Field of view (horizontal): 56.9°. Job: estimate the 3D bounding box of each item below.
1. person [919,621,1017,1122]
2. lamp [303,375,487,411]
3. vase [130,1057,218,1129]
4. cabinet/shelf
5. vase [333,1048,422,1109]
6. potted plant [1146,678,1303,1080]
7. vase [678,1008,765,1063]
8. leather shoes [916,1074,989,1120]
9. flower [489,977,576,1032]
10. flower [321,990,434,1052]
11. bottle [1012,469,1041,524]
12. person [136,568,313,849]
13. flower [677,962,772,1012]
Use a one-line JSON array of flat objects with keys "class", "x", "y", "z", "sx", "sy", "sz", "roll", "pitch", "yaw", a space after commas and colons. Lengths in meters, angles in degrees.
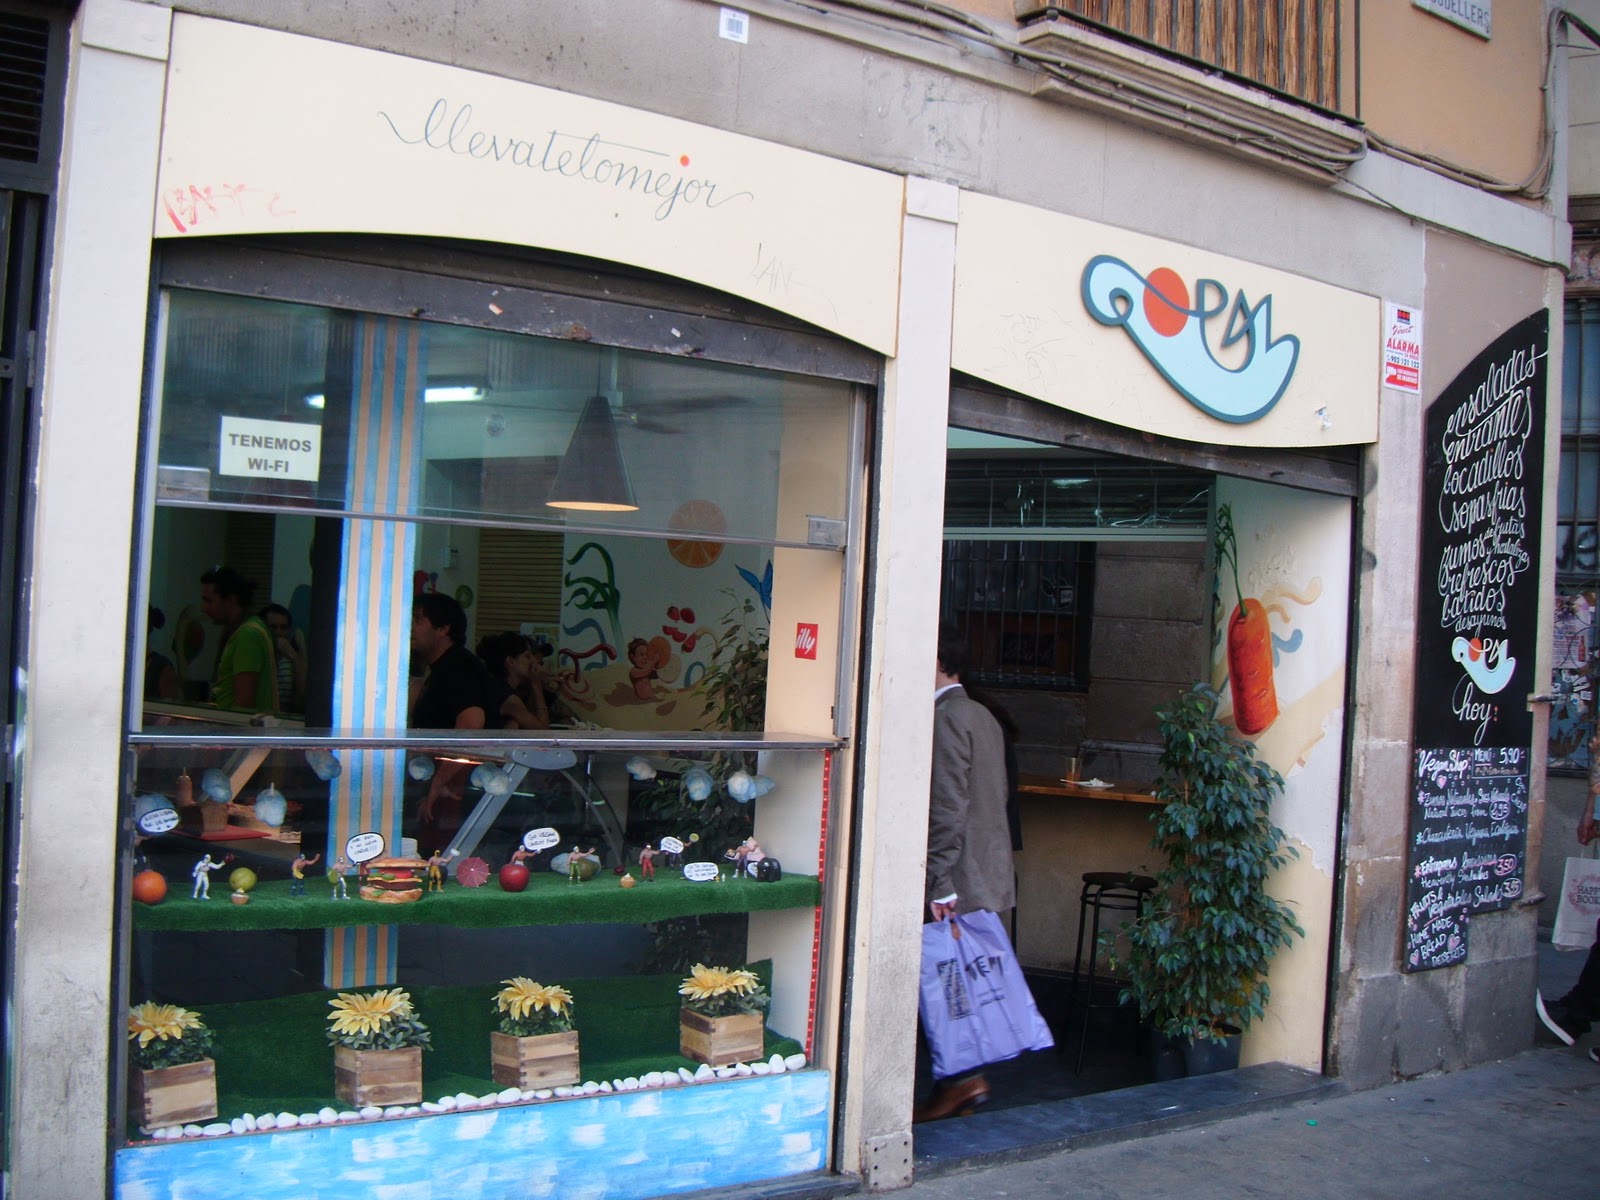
[{"class": "person", "x": 0.854, "y": 1.363, "z": 7.549, "sx": 0.420, "sy": 2.355, "sz": 0.897, "roll": -2, "pitch": -3, "yaw": 10}, {"class": "lamp", "x": -1.530, "y": -0.769, "z": 5.599, "sx": 0.645, "sy": 0.138, "sz": 0.051, "roll": 0, "pitch": -3, "yaw": -28}, {"class": "vase", "x": -2.235, "y": 1.757, "z": 5.242, "sx": 0.223, "sy": 0.169, "sz": 0.214, "roll": 3, "pitch": -7, "yaw": -33}, {"class": "cabinet/shelf", "x": -1.119, "y": 1.146, "z": 5.532, "sx": 3.162, "sy": 1.628, "sz": 0.552, "roll": -4, "pitch": 14, "yaw": 27}, {"class": "vase", "x": -1.609, "y": 1.812, "z": 5.578, "sx": 0.234, "sy": 0.159, "sz": 0.241, "roll": 2, "pitch": -6, "yaw": -11}, {"class": "potted plant", "x": 2.280, "y": 1.433, "z": 8.038, "sx": 0.871, "sy": 1.950, "sz": 0.522, "roll": 0, "pitch": -3, "yaw": -21}, {"class": "vase", "x": -0.339, "y": 1.851, "z": 6.231, "sx": 0.264, "sy": 0.173, "sz": 0.253, "roll": 5, "pitch": -8, "yaw": -34}, {"class": "leather shoes", "x": 0.778, "y": 2.506, "z": 7.449, "sx": 0.409, "sy": 0.211, "sz": 0.142, "roll": 7, "pitch": -9, "yaw": -34}, {"class": "flower", "x": -1.068, "y": 1.569, "z": 5.891, "sx": 0.230, "sy": 0.099, "sz": 0.239, "roll": 4, "pitch": 0, "yaw": 37}, {"class": "flower", "x": -1.635, "y": 1.596, "z": 5.629, "sx": 0.347, "sy": 0.219, "sz": 0.083, "roll": 0, "pitch": -3, "yaw": -24}, {"class": "bottle", "x": 1.561, "y": -0.729, "z": 10.176, "sx": 0.315, "sy": 0.321, "sz": 0.574, "roll": 2, "pitch": 0, "yaw": 14}, {"class": "person", "x": -2.348, "y": 0.403, "z": 5.987, "sx": 0.501, "sy": 1.084, "sz": 1.522, "roll": 0, "pitch": -3, "yaw": -23}, {"class": "flower", "x": -0.343, "y": 1.589, "z": 6.290, "sx": 0.247, "sy": 0.108, "sz": 0.246, "roll": -1, "pitch": 8, "yaw": -32}]
